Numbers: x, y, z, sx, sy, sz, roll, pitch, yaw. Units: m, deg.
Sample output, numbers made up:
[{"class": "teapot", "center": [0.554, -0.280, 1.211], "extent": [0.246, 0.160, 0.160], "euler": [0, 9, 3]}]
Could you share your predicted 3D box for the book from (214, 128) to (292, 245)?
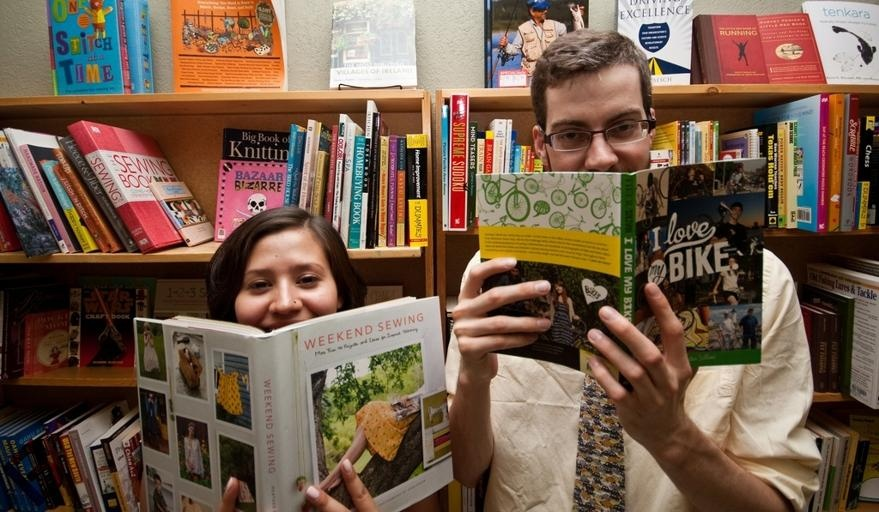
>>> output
[{"class": "book", "center": [-0.821, -0.288, 2.482], "extent": [0.504, 0.430, 0.110], "euler": [-1, 1, -12]}]

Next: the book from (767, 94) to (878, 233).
[{"class": "book", "center": [1.545, -0.355, 2.295], "extent": [0.336, 0.509, 0.572], "euler": [0, 5, 6]}]

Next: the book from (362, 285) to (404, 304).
[{"class": "book", "center": [-0.251, 0.164, 2.531], "extent": [0.173, 0.101, 0.086], "euler": [-3, -3, 5]}]

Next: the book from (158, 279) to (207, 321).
[{"class": "book", "center": [-1.158, 0.198, 2.531], "extent": [0.223, 0.173, 0.047], "euler": [0, -7, 4]}]

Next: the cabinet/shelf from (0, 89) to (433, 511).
[{"class": "cabinet/shelf", "center": [-0.851, 0.156, 2.135], "extent": [2.087, 1.606, 0.553], "euler": [-1, -5, -5]}]

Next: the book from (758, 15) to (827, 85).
[{"class": "book", "center": [1.478, -0.867, 2.399], "extent": [0.238, 0.288, 0.115], "euler": [-5, 14, 2]}]

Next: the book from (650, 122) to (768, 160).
[{"class": "book", "center": [1.069, -0.456, 2.311], "extent": [0.291, 0.111, 0.333], "euler": [0, 1, -4]}]

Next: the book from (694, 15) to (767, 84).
[{"class": "book", "center": [1.228, -0.866, 2.400], "extent": [0.271, 0.289, 0.113], "euler": [-6, 14, -3]}]

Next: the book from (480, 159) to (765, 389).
[{"class": "book", "center": [0.525, 0.043, 1.661], "extent": [0.975, 0.593, 0.100], "euler": [-1, 3, -13]}]

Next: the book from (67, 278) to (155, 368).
[{"class": "book", "center": [-1.403, 0.293, 2.441], "extent": [0.465, 0.455, 0.069], "euler": [0, -1, 4]}]
